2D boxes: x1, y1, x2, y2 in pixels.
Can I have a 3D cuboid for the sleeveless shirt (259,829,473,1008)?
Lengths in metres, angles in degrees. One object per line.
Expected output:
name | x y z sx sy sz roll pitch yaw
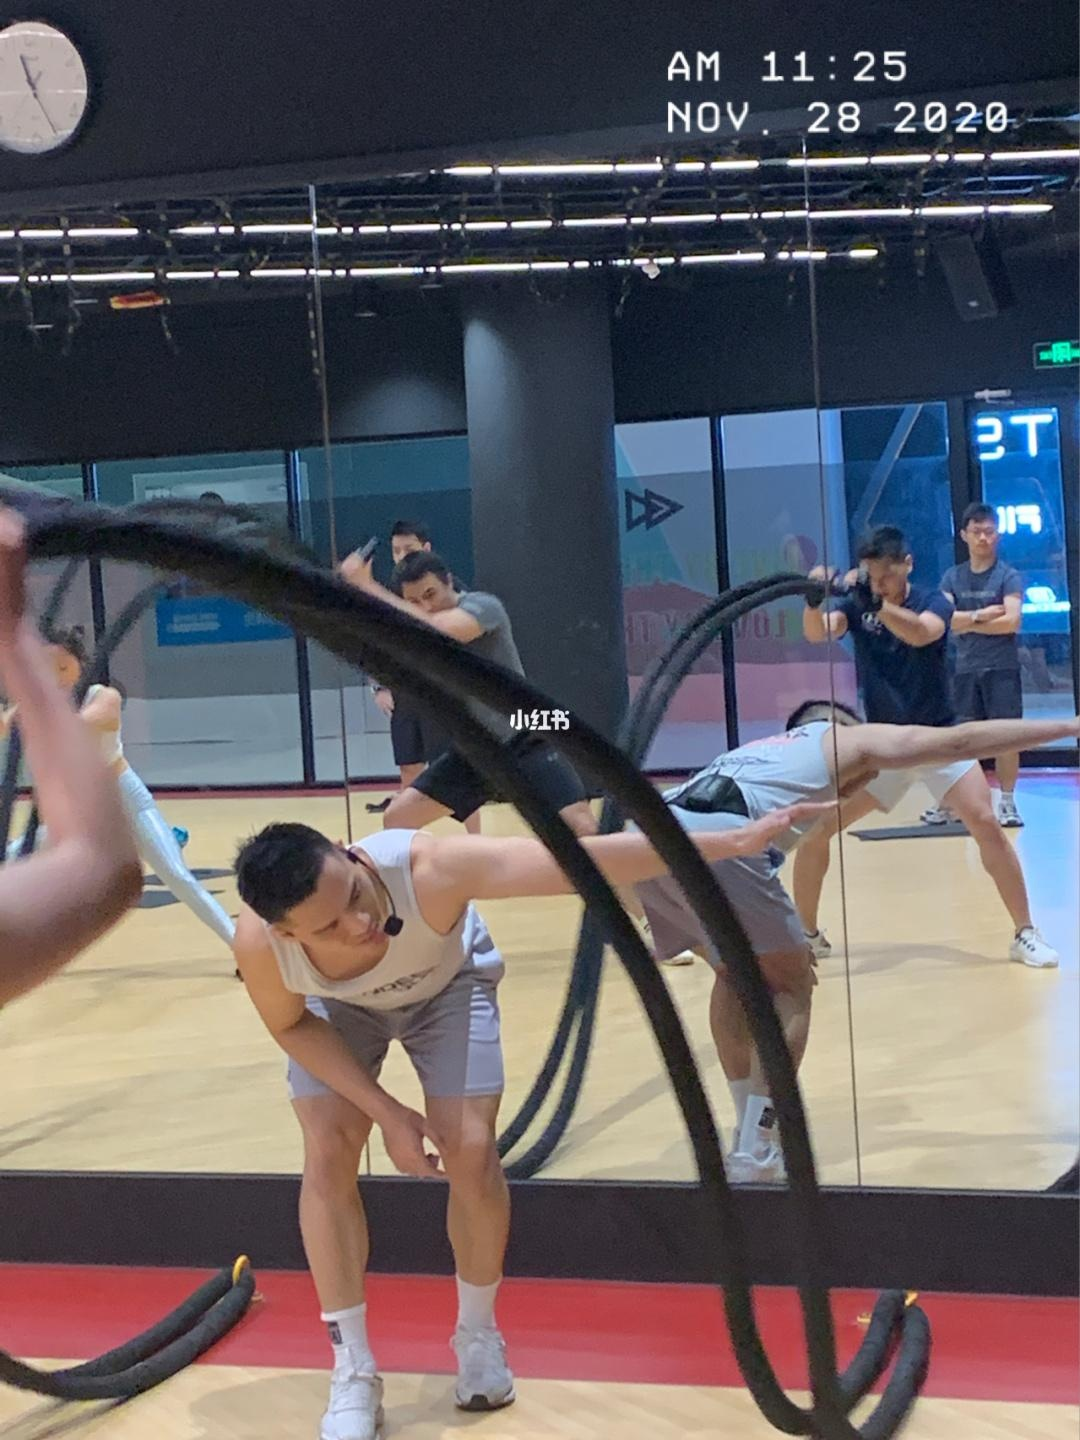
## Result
sleeveless shirt | -0.278 0.311 2.464 0.232 0.204 0.300 -23 -20 21

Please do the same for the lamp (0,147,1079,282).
lamp | 0.257 -1.193 3.871 1.799 0.223 0.068 0 15 7

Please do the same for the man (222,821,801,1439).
man | -0.046 0.737 2.661 1.156 1.173 0.836 -1 -3 -1

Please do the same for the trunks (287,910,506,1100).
trunks | -0.260 0.461 2.733 0.355 0.412 0.239 -2 32 -2
